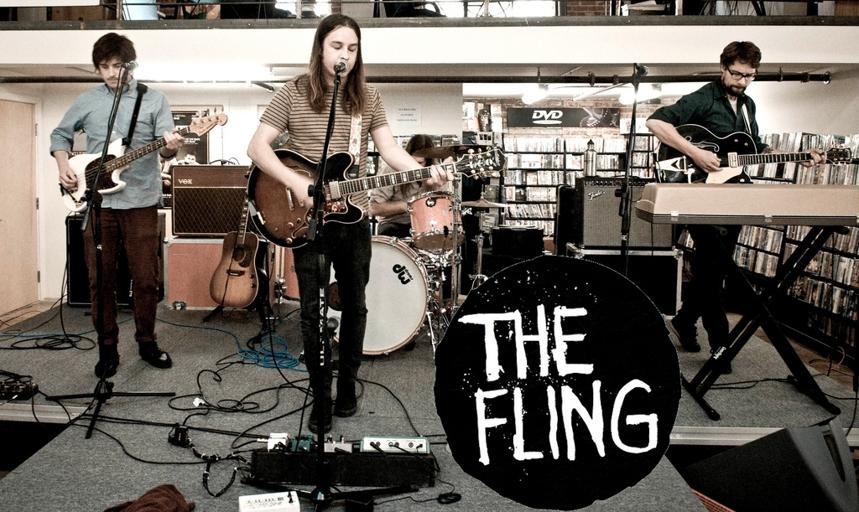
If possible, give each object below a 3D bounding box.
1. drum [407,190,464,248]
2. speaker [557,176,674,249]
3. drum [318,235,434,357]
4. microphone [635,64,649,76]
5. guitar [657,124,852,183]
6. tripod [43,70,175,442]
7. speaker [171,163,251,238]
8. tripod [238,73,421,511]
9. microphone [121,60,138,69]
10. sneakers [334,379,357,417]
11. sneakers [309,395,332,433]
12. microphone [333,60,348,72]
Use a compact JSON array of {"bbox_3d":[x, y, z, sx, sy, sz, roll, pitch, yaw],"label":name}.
[{"bbox_3d":[0.143,-0.305,5.847,0.585,0.430,0.574,0,-3,0],"label":"drum"},{"bbox_3d":[1.732,-0.389,6.719,0.792,0.546,0.774,1,0,1],"label":"speaker"},{"bbox_3d":[-0.418,0.290,5.131,0.847,0.842,0.343,21,4,10],"label":"drum"},{"bbox_3d":[1.627,-1.431,5.299,0.091,0.076,0.438,5,13,14],"label":"microphone"},{"bbox_3d":[2.359,-0.813,5.437,1.083,0.448,0.278,1,13,-2],"label":"guitar"},{"bbox_3d":[-2.314,-0.166,5.072,0.750,2.478,1.226,-4,14,-24],"label":"tripod"},{"bbox_3d":[-2.090,-0.544,6.886,0.813,0.674,0.489,1,2,18],"label":"speaker"},{"bbox_3d":[-0.664,0.169,4.333,0.992,2.671,1.077,-3,13,-18],"label":"tripod"},{"bbox_3d":[-2.156,-1.372,4.961,0.124,0.041,0.116,-7,19,-28],"label":"microphone"},{"bbox_3d":[-0.539,1.014,4.777,0.120,0.207,0.312,2,6,5],"label":"sneakers"},{"bbox_3d":[-0.699,1.026,4.438,0.169,0.165,0.400,1,-15,-3],"label":"sneakers"},{"bbox_3d":[-0.549,-1.190,4.304,0.071,0.084,0.116,4,13,10],"label":"microphone"}]
